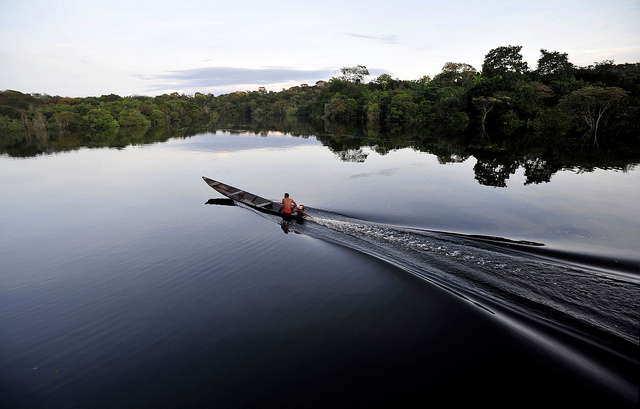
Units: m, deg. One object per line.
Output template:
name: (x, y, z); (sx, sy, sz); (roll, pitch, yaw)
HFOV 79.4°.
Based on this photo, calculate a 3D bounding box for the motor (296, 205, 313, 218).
motor: (-1.155, 0.483, 26.856); (1.528, 0.604, 0.824); (5, 0, 11)

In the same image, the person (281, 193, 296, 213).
person: (-2.239, -0.167, 26.825); (0.746, 1.484, 1.013); (-7, 15, -23)
